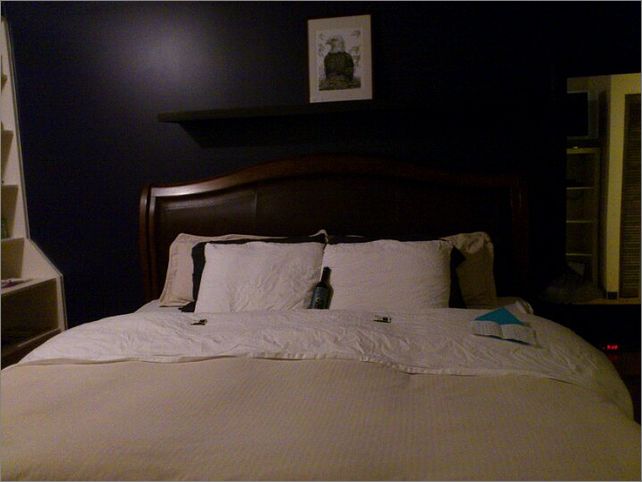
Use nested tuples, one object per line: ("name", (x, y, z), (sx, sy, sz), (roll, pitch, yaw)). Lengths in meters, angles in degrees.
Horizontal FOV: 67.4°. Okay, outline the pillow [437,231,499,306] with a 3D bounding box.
("pillow", (0.895, 0.185, 2.878), (0.337, 0.407, 0.121), (-1, -13, -10))
